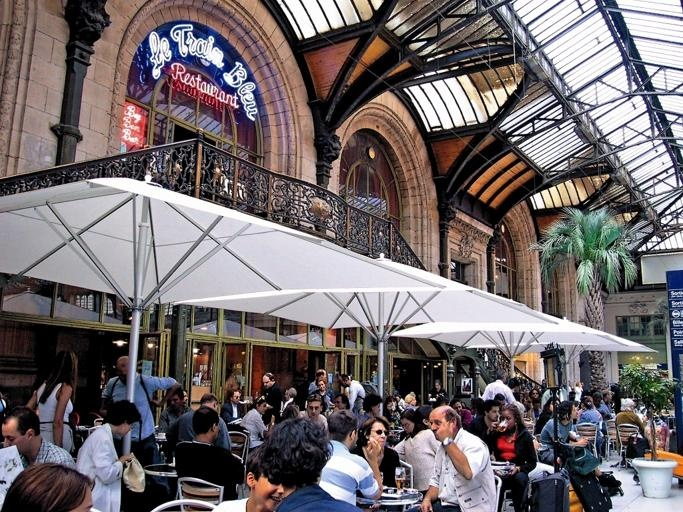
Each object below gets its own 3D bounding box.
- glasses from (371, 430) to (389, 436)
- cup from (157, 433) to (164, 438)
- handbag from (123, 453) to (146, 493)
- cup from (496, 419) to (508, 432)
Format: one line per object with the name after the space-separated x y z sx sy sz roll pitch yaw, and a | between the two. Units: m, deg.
0.449 2.029 6.695 0.208 0.065 0.096 13 -18 -34 | glasses
-2.857 2.832 9.222 0.079 0.061 0.082 -1 -7 0 | cup
-2.338 2.441 6.560 0.239 0.406 0.244 6 -15 -17 | handbag
2.399 2.530 8.723 0.127 0.251 0.232 2 -5 1 | cup
